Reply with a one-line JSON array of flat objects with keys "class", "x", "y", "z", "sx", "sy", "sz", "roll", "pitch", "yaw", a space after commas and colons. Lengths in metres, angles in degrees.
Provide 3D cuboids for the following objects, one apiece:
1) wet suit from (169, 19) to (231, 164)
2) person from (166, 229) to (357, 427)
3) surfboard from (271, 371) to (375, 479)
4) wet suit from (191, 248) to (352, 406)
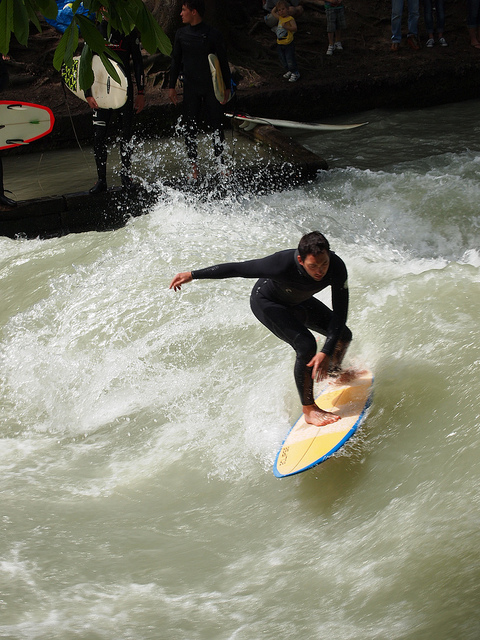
[{"class": "wet suit", "x": -0.395, "y": -2.481, "z": 7.312, "sx": 0.586, "sy": 1.417, "sz": 0.632, "roll": -12, "pitch": 16, "yaw": -18}, {"class": "person", "x": 0.116, "y": 0.118, "z": 4.768, "sx": 1.225, "sy": 1.249, "sz": 0.796, "roll": -28, "pitch": 42, "yaw": -13}, {"class": "surfboard", "x": 0.554, "y": 0.611, "z": 3.863, "sx": 0.338, "sy": 0.138, "sz": 1.009, "roll": -9, "pitch": 27, "yaw": 39}, {"class": "wet suit", "x": 0.166, "y": -0.035, "z": 4.031, "sx": 1.112, "sy": 1.110, "sz": 0.635, "roll": 6, "pitch": 36, "yaw": 7}]
